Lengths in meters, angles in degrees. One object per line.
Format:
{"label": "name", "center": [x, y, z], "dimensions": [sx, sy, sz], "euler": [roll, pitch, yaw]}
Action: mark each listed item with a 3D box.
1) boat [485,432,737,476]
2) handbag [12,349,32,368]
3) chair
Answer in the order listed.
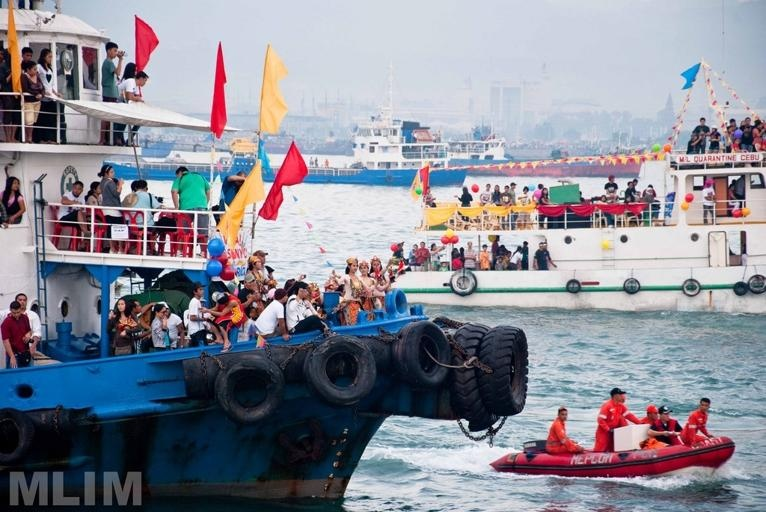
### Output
{"label": "boat", "center": [5.918, 5.292, 41.913], "dimensions": [5.407, 0.993, 1.903], "euler": [-3, -5, 18]}
{"label": "handbag", "center": [-8.583, 2.488, 39.491], "dimensions": [0.375, 0.403, 0.382], "euler": [-2, 5, -21]}
{"label": "chair", "center": [-6.210, -0.809, 41.786], "dimensions": [3.027, 1.589, 0.777], "euler": [2, -2, -5]}
